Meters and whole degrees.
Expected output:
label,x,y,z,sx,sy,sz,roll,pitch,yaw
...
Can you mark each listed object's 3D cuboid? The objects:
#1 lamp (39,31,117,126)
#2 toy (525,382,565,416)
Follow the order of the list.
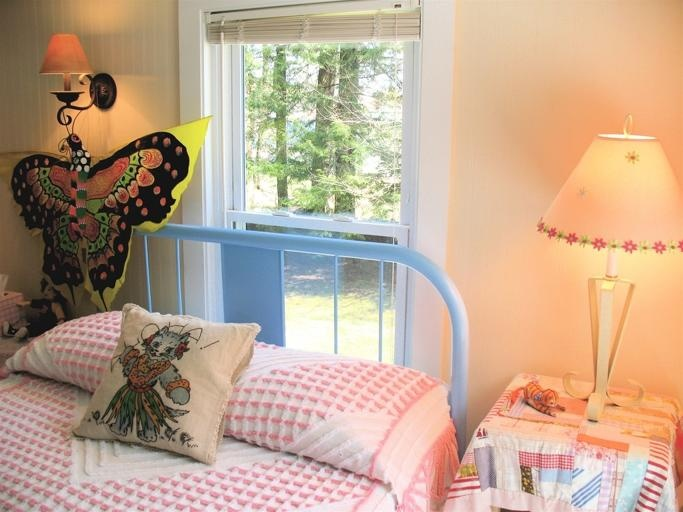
label,x,y,z,sx,sy,sz,roll,pitch,yaw
lamp,-1.276,-0.803,2.678,0.413,0.467,0.314,12,12,34
toy,0.634,0.439,1.821,0.063,0.046,0.104,-15,18,-27
